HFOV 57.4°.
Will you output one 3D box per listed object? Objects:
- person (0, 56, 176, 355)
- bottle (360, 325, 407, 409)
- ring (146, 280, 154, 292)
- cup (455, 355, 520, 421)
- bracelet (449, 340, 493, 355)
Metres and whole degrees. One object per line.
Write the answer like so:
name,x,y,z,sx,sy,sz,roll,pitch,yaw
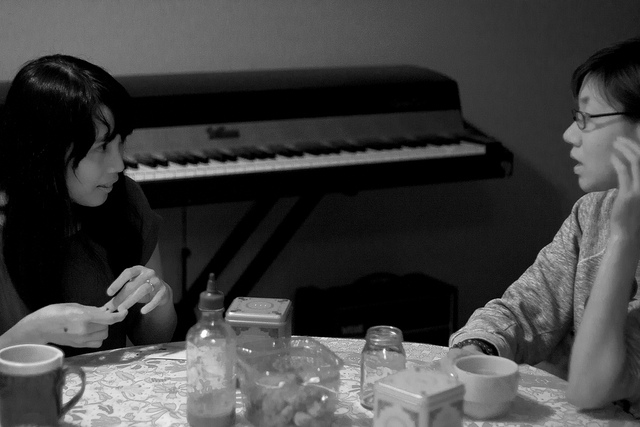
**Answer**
person,-0.591,0.017,1.486,0.445,0.825,0.561,2,2,-12
bottle,0.119,0.294,1.109,0.086,0.152,0.123,3,2,5
ring,-0.394,0.171,1.354,0.005,0.021,0.021,-14,31,-43
cup,0.306,0.317,1.071,0.113,0.084,0.123,0,0,0
bracelet,0.338,0.298,1.300,0.086,0.020,0.022,3,2,2
